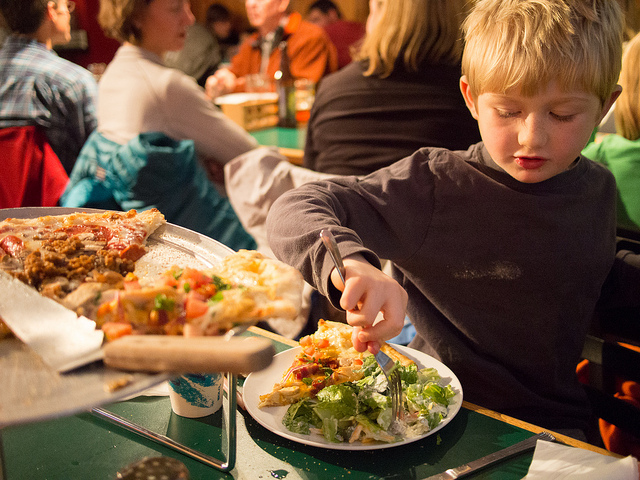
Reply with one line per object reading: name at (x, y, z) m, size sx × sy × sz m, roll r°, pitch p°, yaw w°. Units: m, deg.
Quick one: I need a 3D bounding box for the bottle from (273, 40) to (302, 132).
bottle at (-0.291, -1.173, 4.089) m, size 0.229 × 0.214 × 0.890 m, roll -6°, pitch 60°, yaw -1°

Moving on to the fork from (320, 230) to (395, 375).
fork at (0.075, 0.132, 1.058) m, size 0.044 × 0.352 × 0.046 m, roll -31°, pitch -4°, yaw 37°

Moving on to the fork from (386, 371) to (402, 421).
fork at (0.164, 0.324, 1.079) m, size 0.012 × 0.015 × 0.092 m, roll -22°, pitch 42°, yaw 40°

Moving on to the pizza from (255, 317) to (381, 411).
pizza at (-0.004, 0.297, 1.204) m, size 0.169 × 0.057 × 0.257 m, roll 18°, pitch 33°, yaw 42°

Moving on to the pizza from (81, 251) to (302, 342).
pizza at (-0.200, 0.098, 0.844) m, size 0.255 × 0.056 × 0.175 m, roll -7°, pitch 21°, yaw -9°

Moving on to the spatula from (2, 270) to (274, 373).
spatula at (-0.361, 0.094, 0.847) m, size 0.613 × 0.121 × 0.172 m, roll -2°, pitch 1°, yaw 23°

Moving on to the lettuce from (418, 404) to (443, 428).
lettuce at (0.234, 0.382, 1.098) m, size 0.050 × 0.026 × 0.036 m, roll 4°, pitch 20°, yaw 13°
